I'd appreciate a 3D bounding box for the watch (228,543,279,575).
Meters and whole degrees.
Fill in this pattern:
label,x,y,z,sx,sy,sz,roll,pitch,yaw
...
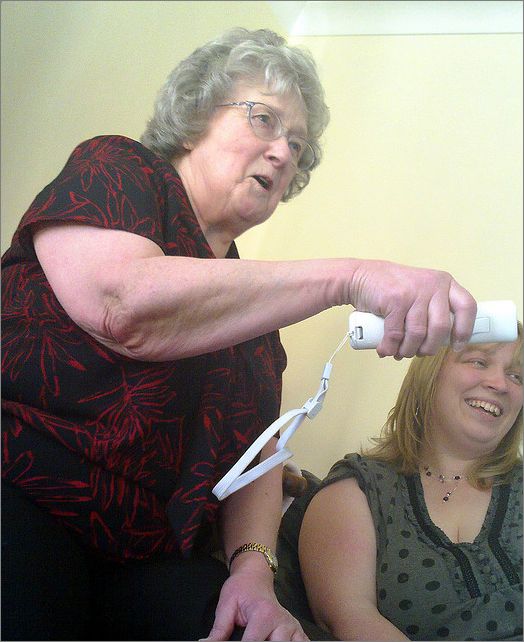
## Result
label,x,y,z,sx,sy,sz,roll,pitch,yaw
watch,-0.018,0.403,1.102,0.068,0.058,0.025,-12,3,1
